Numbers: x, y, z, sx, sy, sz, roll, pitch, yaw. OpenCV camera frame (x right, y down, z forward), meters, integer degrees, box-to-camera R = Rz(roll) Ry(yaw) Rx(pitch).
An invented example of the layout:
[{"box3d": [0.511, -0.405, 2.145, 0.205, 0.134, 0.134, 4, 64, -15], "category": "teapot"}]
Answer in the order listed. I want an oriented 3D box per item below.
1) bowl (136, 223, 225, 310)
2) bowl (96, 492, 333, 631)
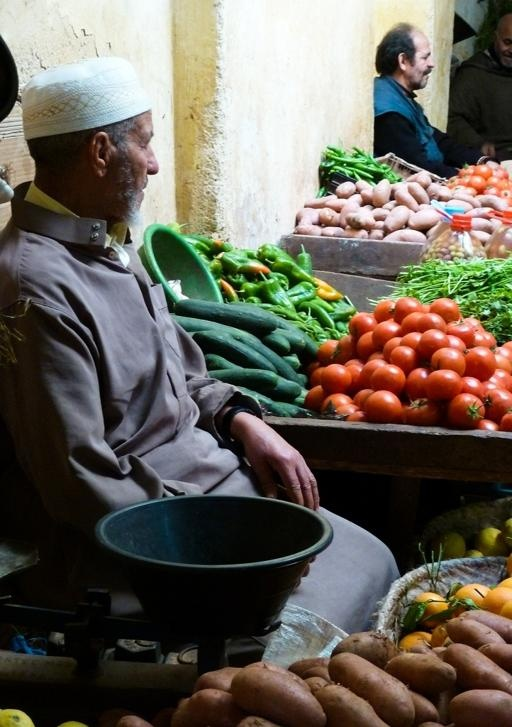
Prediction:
[{"box3d": [-0.458, -0.463, 3.384, 0.462, 0.445, 0.466, 3, 17, -1], "category": "bowl"}, {"box3d": [-0.067, 0.328, 1.096, 0.395, 0.126, 0.371, 2, 4, 0], "category": "bowl"}]
